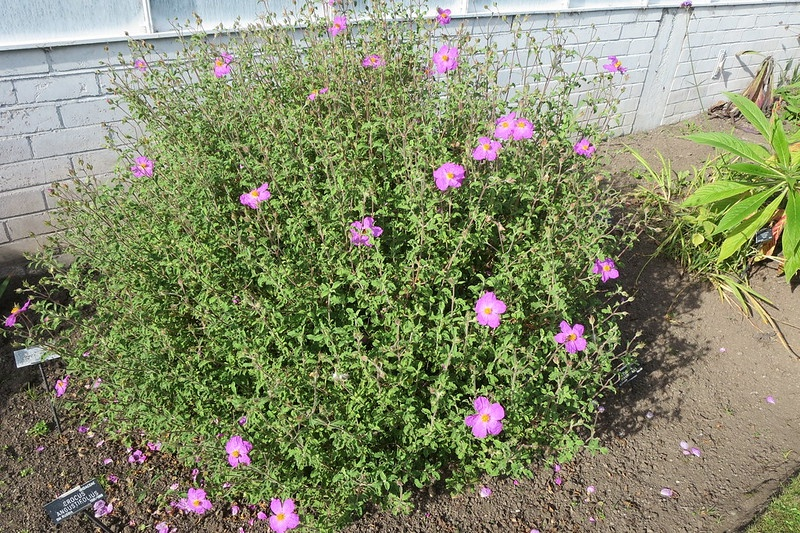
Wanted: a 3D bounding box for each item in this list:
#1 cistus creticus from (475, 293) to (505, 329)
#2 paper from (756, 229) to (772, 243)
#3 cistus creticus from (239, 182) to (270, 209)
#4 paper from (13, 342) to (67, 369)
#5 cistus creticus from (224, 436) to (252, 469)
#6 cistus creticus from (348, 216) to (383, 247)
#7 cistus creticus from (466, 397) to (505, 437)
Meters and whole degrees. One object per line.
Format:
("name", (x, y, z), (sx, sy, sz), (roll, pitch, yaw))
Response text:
("cistus creticus", (0.556, 0.286, 3.186), (0.166, 0.199, 0.145), (23, 38, 37))
("paper", (3.168, -0.257, 4.452), (0.140, 0.153, 0.038), (4, 1, -8))
("cistus creticus", (-0.973, -0.468, 3.400), (0.171, 0.141, 0.133), (17, 35, 31))
("paper", (-2.597, 0.613, 3.640), (0.409, 0.221, 0.030), (2, 1, -2))
("cistus creticus", (-0.991, 1.130, 3.128), (0.142, 0.178, 0.093), (1, 30, 5))
("cistus creticus", (-0.233, -0.203, 3.347), (0.204, 0.218, 0.239), (-6, 30, -6))
("cistus creticus", (0.513, 0.921, 3.106), (0.105, 0.242, 0.264), (-8, -13, -9))
